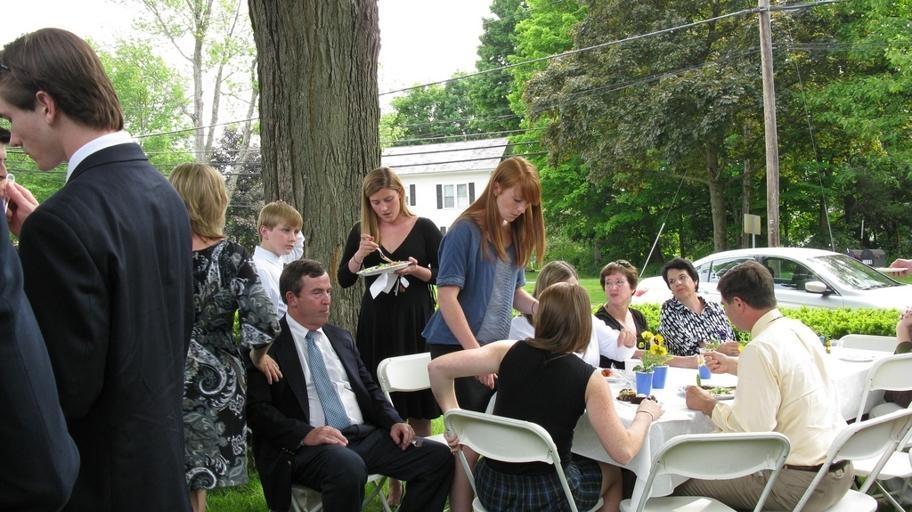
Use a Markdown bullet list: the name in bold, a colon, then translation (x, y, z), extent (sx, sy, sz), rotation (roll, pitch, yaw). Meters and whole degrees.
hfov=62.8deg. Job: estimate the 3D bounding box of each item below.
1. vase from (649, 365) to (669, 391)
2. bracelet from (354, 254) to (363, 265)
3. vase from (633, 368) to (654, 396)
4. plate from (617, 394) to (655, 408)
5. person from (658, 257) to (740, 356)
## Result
- **vase**: translation (1.666, 0.996, 6.128), extent (0.177, 0.171, 0.178), rotation (0, -3, -42)
- **bracelet**: translation (-0.928, 0.020, 6.985), extent (0.087, 0.061, 0.082), rotation (3, 1, 11)
- **vase**: translation (1.503, 1.014, 6.003), extent (0.188, 0.191, 0.187), rotation (-4, -4, 44)
- **plate**: translation (1.364, 1.119, 5.783), extent (0.201, 0.048, 0.112), rotation (7, -5, -9)
- **person**: translation (2.423, 0.553, 7.576), extent (0.828, 1.023, 0.796), rotation (-8, 4, -42)
